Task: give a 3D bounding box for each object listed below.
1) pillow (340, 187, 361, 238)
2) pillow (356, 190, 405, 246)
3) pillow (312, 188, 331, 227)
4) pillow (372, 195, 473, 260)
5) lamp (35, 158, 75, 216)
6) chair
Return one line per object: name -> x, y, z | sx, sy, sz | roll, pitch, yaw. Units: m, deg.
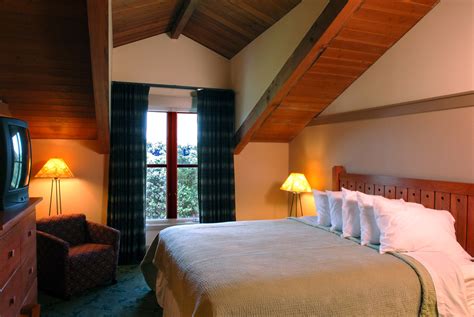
pillow -> 1.351, 0.669, 3.803 | 0.163, 0.489, 0.469 | -12, -15, 40
pillow -> 1.562, 0.676, 3.499 | 0.489, 0.415, 0.186 | 7, -16, -22
pillow -> 1.150, 0.665, 4.300 | 0.434, 0.446, 0.153 | 6, -21, -37
pillow -> 1.910, 0.727, 3.371 | 0.867, 0.582, 0.235 | 0, -3, 1
lamp -> -2.737, 0.434, 4.831 | 0.511, 0.884, 0.502 | 2, -3, -32
chair -> -2.197, 1.300, 4.505 | 0.991, 1.025, 0.939 | -5, -9, 35
